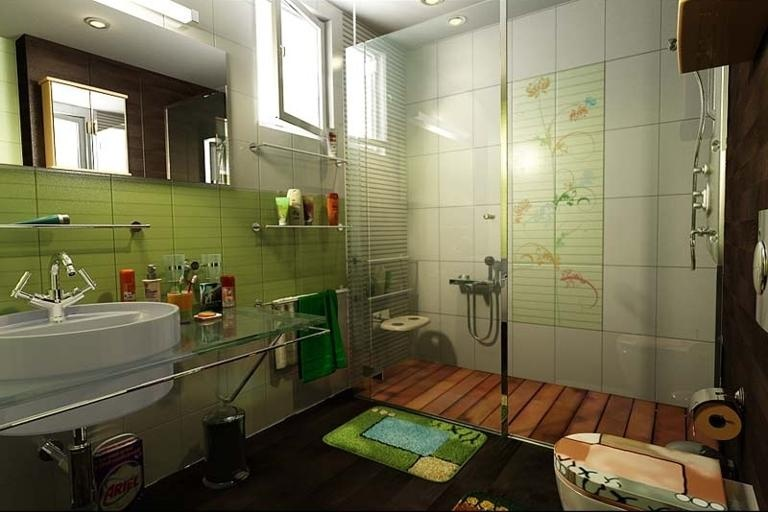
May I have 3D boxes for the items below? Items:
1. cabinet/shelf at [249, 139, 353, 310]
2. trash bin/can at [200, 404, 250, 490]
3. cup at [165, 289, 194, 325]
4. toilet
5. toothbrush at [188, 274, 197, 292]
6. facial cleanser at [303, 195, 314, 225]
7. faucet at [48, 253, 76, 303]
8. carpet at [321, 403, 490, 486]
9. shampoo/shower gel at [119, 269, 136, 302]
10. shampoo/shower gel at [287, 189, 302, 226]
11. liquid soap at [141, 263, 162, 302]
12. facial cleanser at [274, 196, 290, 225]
[{"bbox_3d":[-0.565,-0.276,3.858,0.260,1.091,0.948,-1,7,28],"label":"cabinet/shelf"},{"bbox_3d":[-0.989,1.142,3.179,0.274,0.465,0.192,-6,6,-20],"label":"trash bin/can"},{"bbox_3d":[-1.159,0.301,2.995,0.155,0.181,0.178,-1,-1,20],"label":"cup"},{"bbox_3d":[1.231,1.035,2.461,0.700,0.300,0.405,1,6,31],"label":"toilet"},{"bbox_3d":[-1.166,0.162,3.152,0.061,0.100,0.106,-6,7,-18],"label":"toothbrush"},{"bbox_3d":[-0.552,-0.333,3.753,0.067,0.196,0.030,-8,7,-34],"label":"facial cleanser"},{"bbox_3d":[-1.643,0.102,2.656,0.124,0.235,0.298,-8,7,-30],"label":"faucet"},{"bbox_3d":[0.138,1.256,3.560,0.959,0.132,0.670,0,7,33],"label":"carpet"},{"bbox_3d":[-1.435,0.157,2.904,0.096,0.169,0.132,-7,7,-26],"label":"shampoo/shower gel"},{"bbox_3d":[-0.629,-0.353,3.689,0.123,0.249,0.077,-7,6,-22],"label":"shampoo/shower gel"},{"bbox_3d":[-1.337,0.148,2.981,0.096,0.202,0.173,-7,7,-24],"label":"liquid soap"},{"bbox_3d":[-0.703,-0.313,3.614,0.098,0.198,0.106,-6,6,-18],"label":"facial cleanser"}]
